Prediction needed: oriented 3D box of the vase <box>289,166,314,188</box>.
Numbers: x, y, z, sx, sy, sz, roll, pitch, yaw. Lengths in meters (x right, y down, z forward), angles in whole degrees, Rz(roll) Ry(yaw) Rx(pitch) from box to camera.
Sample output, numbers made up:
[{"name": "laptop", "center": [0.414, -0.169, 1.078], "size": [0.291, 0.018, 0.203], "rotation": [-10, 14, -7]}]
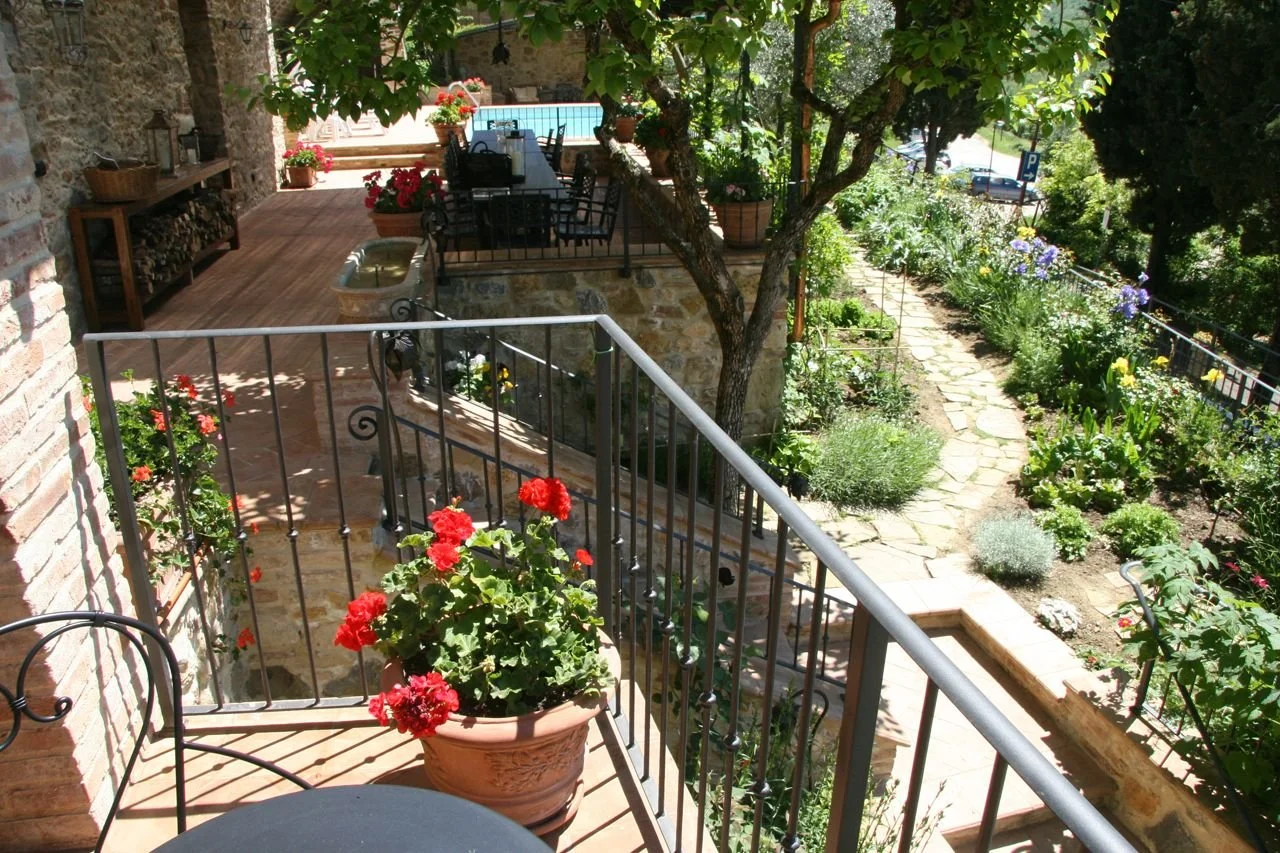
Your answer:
[{"name": "vase", "center": [-5.383, -3.969, 14.178], "size": [0.272, 0.231, 0.339], "rotation": [25, 38, 36]}]

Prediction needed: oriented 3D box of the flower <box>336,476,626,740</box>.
[{"name": "flower", "center": [-0.568, 0.713, 3.280], "size": [1.105, 0.470, 0.794], "rotation": [-17, -23, 1]}]

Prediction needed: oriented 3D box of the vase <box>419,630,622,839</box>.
[{"name": "vase", "center": [-0.436, 1.202, 3.175], "size": [0.678, 0.455, 0.677], "rotation": [-12, 34, -17]}]

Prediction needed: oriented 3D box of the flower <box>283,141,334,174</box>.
[{"name": "flower", "center": [-5.324, -4.341, 14.313], "size": [0.647, 0.376, 0.636], "rotation": [-8, 34, -23]}]

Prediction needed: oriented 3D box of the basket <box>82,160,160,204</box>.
[{"name": "basket", "center": [-4.621, -2.196, 8.002], "size": [0.576, 0.339, 0.443], "rotation": [-13, 22, -31]}]

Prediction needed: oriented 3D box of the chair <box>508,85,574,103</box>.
[{"name": "chair", "center": [-2.413, -8.303, 22.220], "size": [1.738, 0.448, 0.898], "rotation": [-3, 19, -4]}]

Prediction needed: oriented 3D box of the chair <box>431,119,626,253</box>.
[{"name": "chair", "center": [-1.308, -2.657, 10.023], "size": [1.952, 1.222, 3.396], "rotation": [-3, 19, -4]}]
